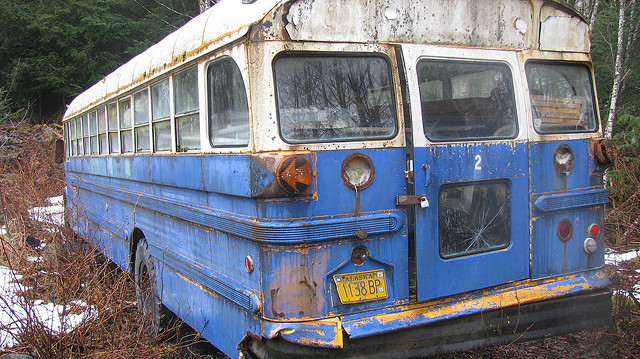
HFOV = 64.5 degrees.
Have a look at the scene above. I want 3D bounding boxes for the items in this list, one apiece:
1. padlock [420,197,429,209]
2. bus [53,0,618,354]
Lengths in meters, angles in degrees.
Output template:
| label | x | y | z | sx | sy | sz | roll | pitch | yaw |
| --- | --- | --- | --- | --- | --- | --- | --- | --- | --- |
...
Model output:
| label | x | y | z | sx | sy | sz | roll | pitch | yaw |
| --- | --- | --- | --- | --- | --- | --- | --- | --- | --- |
| padlock | 1.435 | 0.328 | 6.936 | 0.089 | 0.066 | 0.131 | -7 | -15 | -6 |
| bus | 0.305 | -0.145 | 7.768 | 7.900 | 5.171 | 3.116 | -3 | 4 | 20 |
